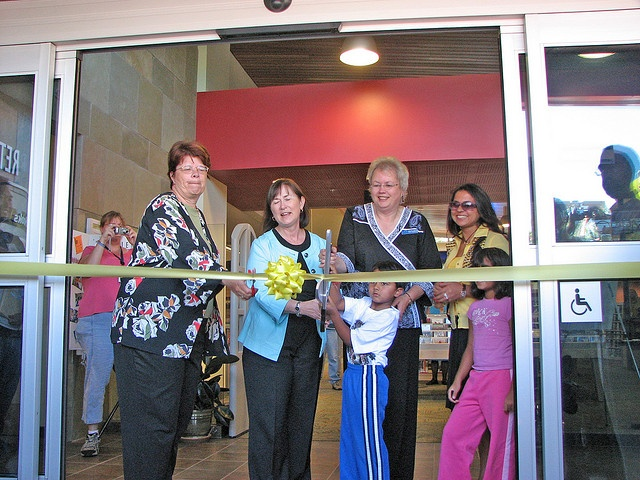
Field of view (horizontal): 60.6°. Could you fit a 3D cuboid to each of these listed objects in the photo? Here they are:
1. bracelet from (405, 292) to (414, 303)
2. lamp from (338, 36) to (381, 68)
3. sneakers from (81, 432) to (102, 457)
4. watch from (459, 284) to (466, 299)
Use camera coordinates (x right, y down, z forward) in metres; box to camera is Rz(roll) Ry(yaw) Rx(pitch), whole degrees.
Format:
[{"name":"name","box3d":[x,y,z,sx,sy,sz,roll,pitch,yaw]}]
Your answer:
[{"name":"bracelet","box3d":[0.464,0.305,2.891,0.045,0.050,0.027,0,-5,-8]},{"name":"lamp","box3d":[0.361,-1.747,5.080,0.329,0.199,0.312,-3,-6,18]},{"name":"sneakers","box3d":[-1.696,1.525,4.081,0.121,0.155,0.121,1,-6,-25]},{"name":"watch","box3d":[0.806,0.300,3.104,0.039,0.065,0.060,2,7,0]}]
